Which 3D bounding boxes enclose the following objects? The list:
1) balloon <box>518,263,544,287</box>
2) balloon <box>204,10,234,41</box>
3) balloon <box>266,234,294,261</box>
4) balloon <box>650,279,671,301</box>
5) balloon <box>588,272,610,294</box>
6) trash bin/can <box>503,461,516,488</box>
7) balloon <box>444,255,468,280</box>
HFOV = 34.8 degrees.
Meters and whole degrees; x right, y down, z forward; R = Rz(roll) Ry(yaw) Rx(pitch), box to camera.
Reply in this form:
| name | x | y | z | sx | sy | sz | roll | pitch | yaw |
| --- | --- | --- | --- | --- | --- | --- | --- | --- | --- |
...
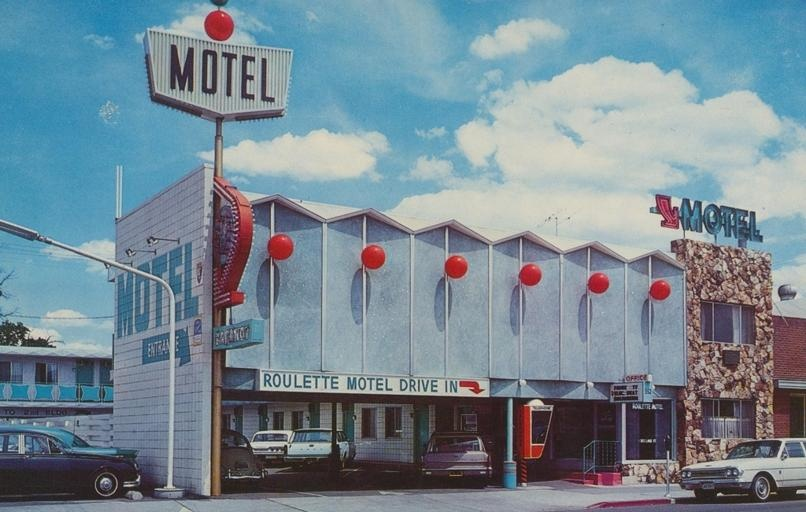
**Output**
| name | x | y | z | sx | sy | sz | roll | pitch | yaw |
| --- | --- | --- | --- | --- | --- | --- | --- | --- | --- |
| balloon | 5.470 | 0.776 | 55.556 | 0.990 | 0.974 | 0.544 | 40 | 7 | -11 |
| balloon | -7.398 | -9.459 | 51.770 | 0.991 | 1.289 | 1.913 | 1 | -14 | -11 |
| balloon | -4.810 | -0.366 | 51.935 | 1.065 | 1.122 | 1.028 | 1 | 1 | -40 |
| balloon | 11.560 | 1.510 | 58.483 | 0.956 | 0.890 | 0.508 | 6 | 3 | -10 |
| balloon | 8.601 | 1.240 | 57.029 | 0.973 | 0.931 | 0.875 | 4 | 17 | 10 |
| trash bin/can | 4.540 | 9.284 | 55.079 | 0.559 | 1.153 | 0.610 | -3 | -14 | 3 |
| balloon | 2.211 | 0.373 | 54.617 | 0.956 | 1.024 | 0.966 | -5 | -14 | 12 |
